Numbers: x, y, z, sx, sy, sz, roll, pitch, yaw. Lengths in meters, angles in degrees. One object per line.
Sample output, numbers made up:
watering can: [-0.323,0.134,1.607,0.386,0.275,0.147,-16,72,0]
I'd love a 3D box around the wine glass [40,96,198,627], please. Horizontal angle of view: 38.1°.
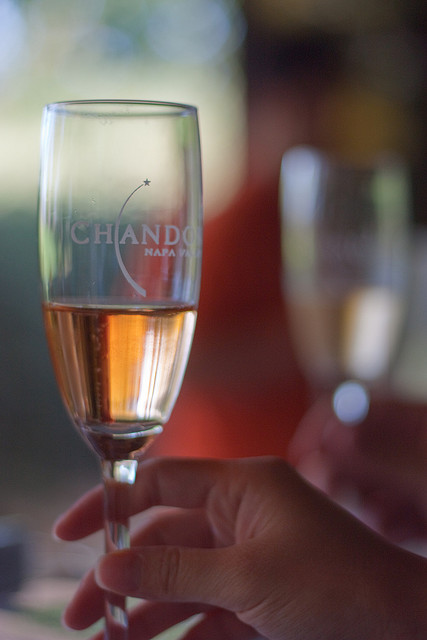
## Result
wine glass: [-0.057,0.014,0.413,0.114,0.304,0.123,-4,24,0]

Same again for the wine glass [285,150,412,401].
wine glass: [0.175,-0.061,0.754,0.181,0.289,0.142,-6,24,-5]
